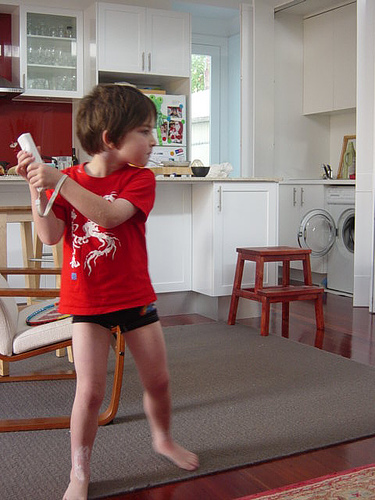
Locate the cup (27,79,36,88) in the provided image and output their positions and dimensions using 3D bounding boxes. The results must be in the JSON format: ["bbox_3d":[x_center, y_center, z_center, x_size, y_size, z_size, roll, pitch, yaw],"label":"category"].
[{"bbox_3d":[-1.604,-1.711,4.227,0.116,0.105,0.062,0,5,-13],"label":"cup"}]

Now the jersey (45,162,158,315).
[{"bbox_3d":[-0.161,-0.029,0.801,0.194,0.307,0.160,0,0,-4],"label":"jersey"}]

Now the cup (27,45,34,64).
[{"bbox_3d":[-1.590,-1.986,4.188,0.064,0.194,0.031,0,-1,-27],"label":"cup"}]

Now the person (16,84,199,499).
[{"bbox_3d":[-0.163,0.125,0.893,0.239,0.906,0.495,0,0,14],"label":"person"}]

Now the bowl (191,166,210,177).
[{"bbox_3d":[0.112,-0.582,3.077,0.087,0.046,0.085,-2,7,0],"label":"bowl"}]

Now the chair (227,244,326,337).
[{"bbox_3d":[0.639,0.262,2.974,0.544,0.526,0.473,-1,4,-30],"label":"chair"}]
